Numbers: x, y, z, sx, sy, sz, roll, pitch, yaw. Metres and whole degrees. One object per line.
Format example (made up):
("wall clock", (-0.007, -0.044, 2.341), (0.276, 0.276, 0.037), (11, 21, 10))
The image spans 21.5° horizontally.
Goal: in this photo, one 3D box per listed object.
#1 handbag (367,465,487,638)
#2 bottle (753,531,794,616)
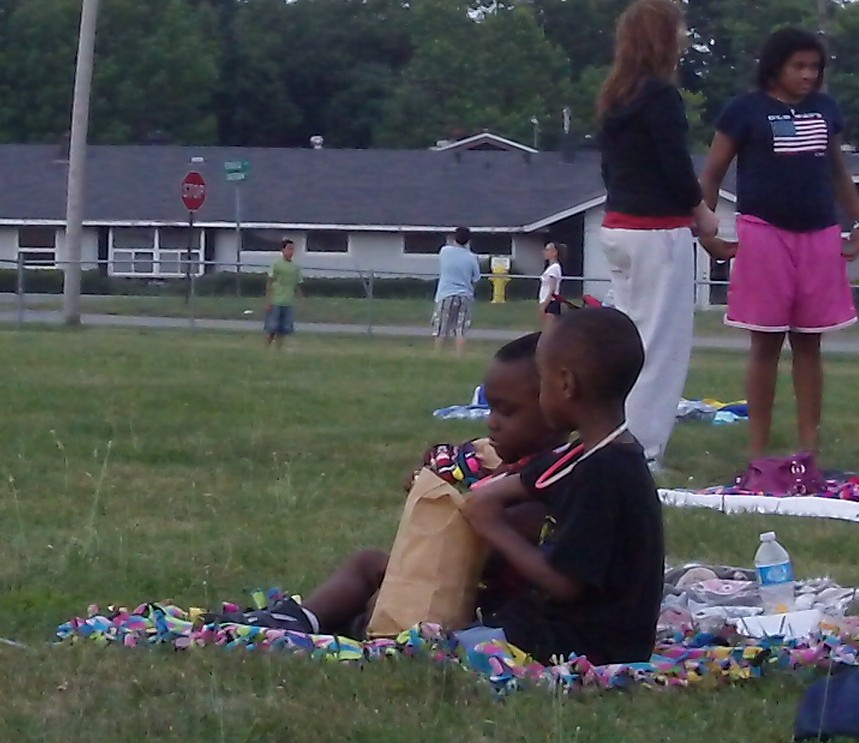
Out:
("handbag", (-0.017, 1.225, 14.740), (0.495, 0.895, 0.761), (9, -15, 38))
("bottle", (2.275, 1.340, 14.987), (0.270, 0.522, 0.304), (2, 4, 9))
